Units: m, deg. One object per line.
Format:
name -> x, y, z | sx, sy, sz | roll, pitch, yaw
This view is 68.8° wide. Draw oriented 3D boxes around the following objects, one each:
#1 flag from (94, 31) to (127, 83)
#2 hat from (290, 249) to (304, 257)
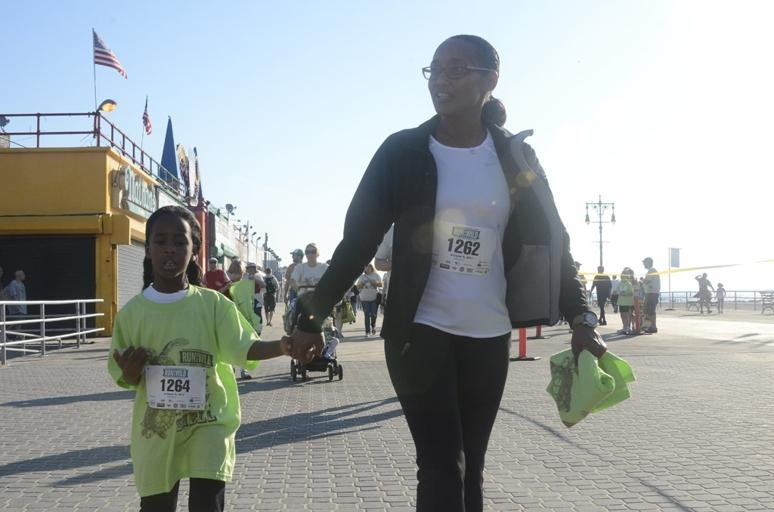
flag -> -10.566, -7.671, 21.399 | 1.213, 0.127, 1.602 | 19, -42, -3
hat -> -1.560, -0.059, 9.829 | 0.166, 0.098, 0.122 | 6, 3, 11
